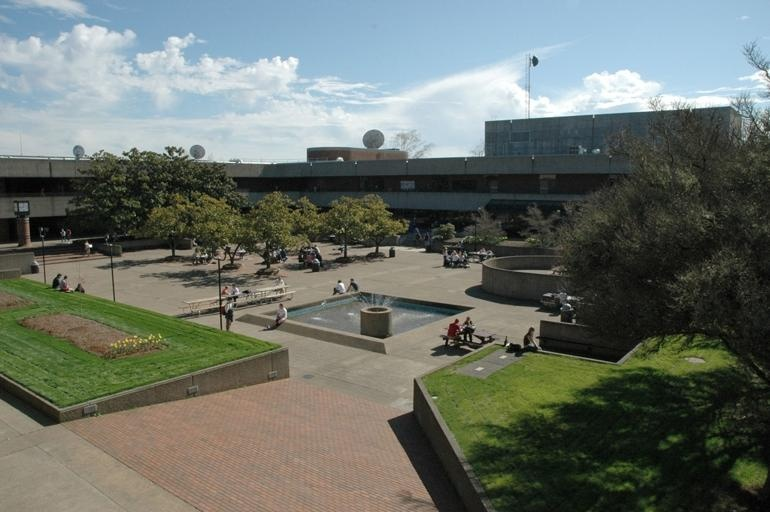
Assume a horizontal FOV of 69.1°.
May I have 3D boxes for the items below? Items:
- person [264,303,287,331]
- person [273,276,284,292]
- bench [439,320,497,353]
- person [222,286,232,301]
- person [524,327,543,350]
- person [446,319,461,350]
[{"bbox_3d":[-5.579,3.041,28.974,0.764,0.778,1.456,19,27,21],"label":"person"},{"bbox_3d":[-6.640,1.722,34.923,0.697,0.522,1.060,0,7,-1],"label":"person"},{"bbox_3d":[3.644,3.769,25.868,1.677,0.497,1.688,-14,18,-41],"label":"bench"},{"bbox_3d":[-9.210,2.166,32.426,0.743,0.773,0.596,-5,8,-1],"label":"person"},{"bbox_3d":[6.453,3.621,24.496,0.873,0.973,1.121,-1,7,8],"label":"person"},{"bbox_3d":[3.156,3.548,25.995,0.624,1.059,1.022,8,12,8],"label":"person"}]
